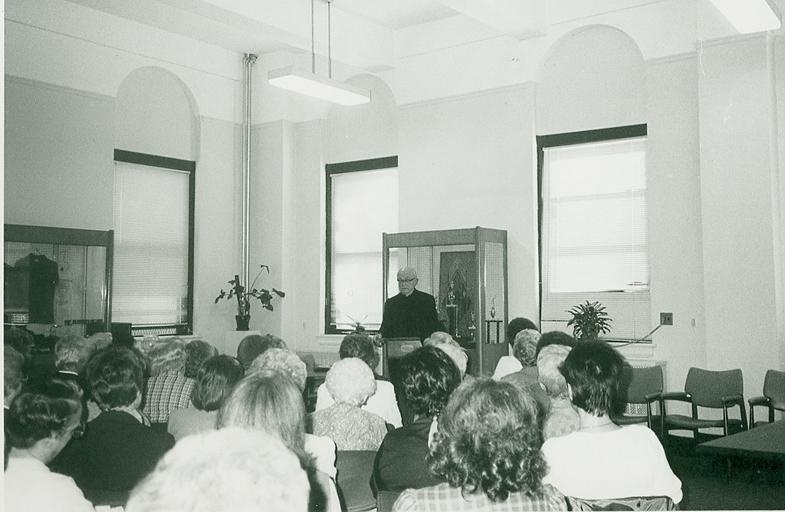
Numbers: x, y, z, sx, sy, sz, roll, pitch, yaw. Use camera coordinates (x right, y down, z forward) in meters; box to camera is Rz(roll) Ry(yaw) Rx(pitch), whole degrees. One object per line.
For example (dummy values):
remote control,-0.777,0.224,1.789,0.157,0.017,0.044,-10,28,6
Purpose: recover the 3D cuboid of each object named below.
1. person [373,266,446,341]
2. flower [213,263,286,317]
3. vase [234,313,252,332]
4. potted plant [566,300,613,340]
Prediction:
person,0.122,0.396,5.661,0.514,0.758,0.243,-2,-22,4
flower,-1.115,0.305,5.708,0.477,0.407,0.500,-4,21,-32
vase,-1.204,0.521,5.599,0.128,0.131,0.124,3,-9,-23
potted plant,1.533,0.475,5.453,0.303,0.291,0.305,1,0,20
